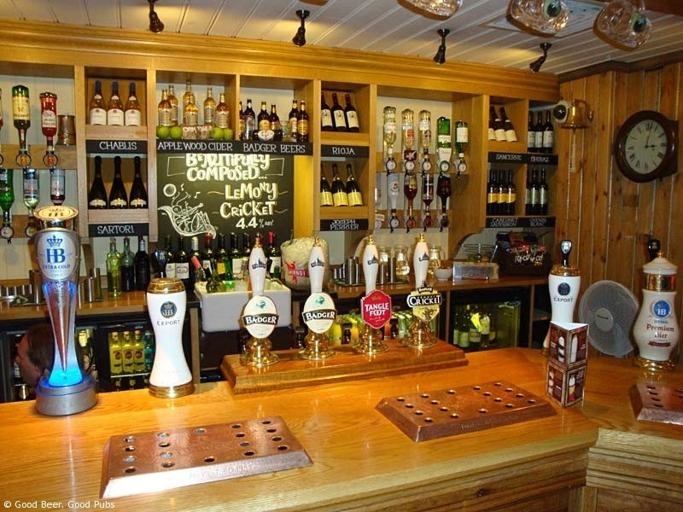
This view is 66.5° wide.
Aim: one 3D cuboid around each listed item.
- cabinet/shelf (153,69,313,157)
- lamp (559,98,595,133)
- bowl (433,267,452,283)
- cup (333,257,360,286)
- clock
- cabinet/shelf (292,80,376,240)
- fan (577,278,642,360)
[{"bbox_3d":[-0.873,-1.244,4.221,1.175,0.495,0.344,-7,21,-23],"label":"cabinet/shelf"},{"bbox_3d":[2.141,-1.259,4.707,0.326,0.292,0.283,0,7,-11],"label":"lamp"},{"bbox_3d":[0.917,0.169,4.731,0.126,0.088,0.124,0,0,0],"label":"bowl"},{"bbox_3d":[0.053,0.067,4.420,0.207,0.236,0.365,1,2,-13],"label":"cup"},{"bbox_3d":[2.616,-0.954,4.511,0.168,0.590,0.525,-7,12,-34],"label":"clock"},{"bbox_3d":[-0.029,-0.831,4.553,0.749,1.334,0.510,-3,10,-14],"label":"cabinet/shelf"},{"bbox_3d":[1.923,0.463,3.586,0.354,0.603,0.498,-3,1,-25],"label":"fan"}]
